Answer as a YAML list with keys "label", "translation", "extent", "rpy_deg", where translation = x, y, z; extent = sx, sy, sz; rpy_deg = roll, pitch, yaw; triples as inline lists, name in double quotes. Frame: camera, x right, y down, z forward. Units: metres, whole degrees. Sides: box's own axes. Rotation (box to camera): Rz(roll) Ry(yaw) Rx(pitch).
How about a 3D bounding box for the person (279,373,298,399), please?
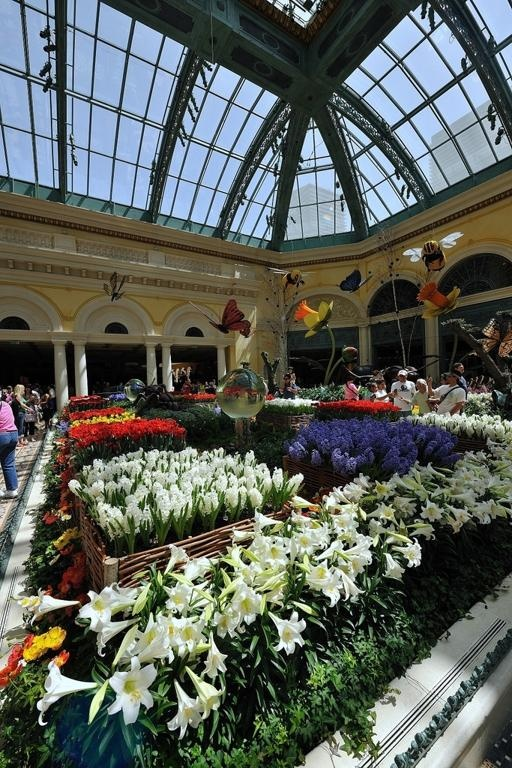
- label: "person"
  translation: [0.739, 0.031, 10.570]
  extent: [0.470, 0.443, 1.075]
  rpy_deg: [-10, 13, 6]

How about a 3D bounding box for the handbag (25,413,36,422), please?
- label: "handbag"
  translation: [-4.655, 0.669, 9.369]
  extent: [0.241, 0.155, 0.124]
  rpy_deg: [-1, 15, 0]

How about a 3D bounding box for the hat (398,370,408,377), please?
- label: "hat"
  translation: [1.959, -0.155, 6.111]
  extent: [0.096, 0.069, 0.147]
  rpy_deg: [-3, -5, 24]

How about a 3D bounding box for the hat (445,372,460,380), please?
- label: "hat"
  translation: [2.033, -0.075, 4.712]
  extent: [0.127, 0.120, 0.192]
  rpy_deg: [-6, -2, 22]
